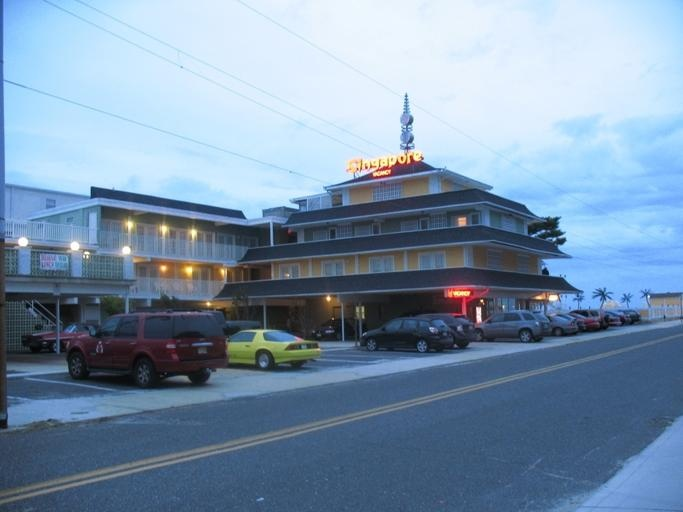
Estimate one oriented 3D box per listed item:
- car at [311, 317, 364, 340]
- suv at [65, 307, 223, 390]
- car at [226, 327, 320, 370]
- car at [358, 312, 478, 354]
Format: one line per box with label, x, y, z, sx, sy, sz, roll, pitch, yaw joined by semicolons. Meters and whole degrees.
car;-0.330;5.033;44.103;1.477;1.040;2.794;-9;-14;41
suv;-5.641;2.606;18.713;4.033;1.673;2.064;0;-3;32
car;-2.797;3.346;23.414;2.751;0.868;1.573;2;-1;32
car;3.587;3.726;30.884;5.219;1.772;3.437;-2;-7;4
